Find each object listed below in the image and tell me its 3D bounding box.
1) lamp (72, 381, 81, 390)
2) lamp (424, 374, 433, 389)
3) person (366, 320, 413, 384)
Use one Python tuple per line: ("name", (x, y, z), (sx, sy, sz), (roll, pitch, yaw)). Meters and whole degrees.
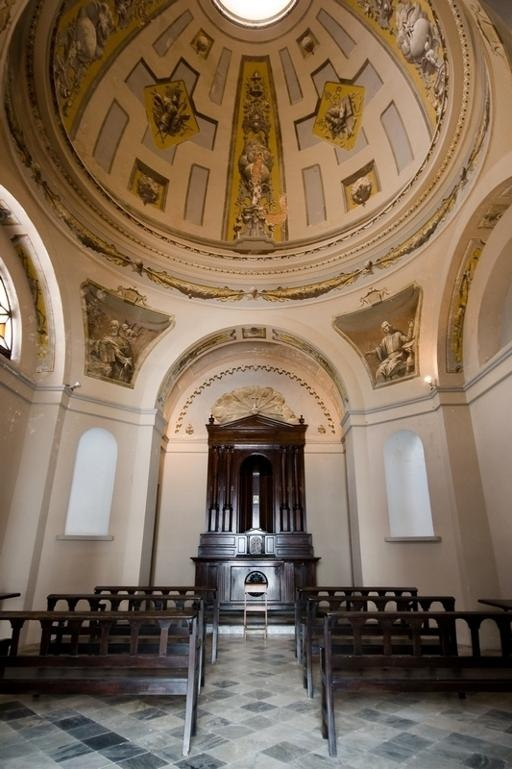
("lamp", (-3.065, 0.024, 7.888), (0.104, 0.111, 0.033), (12, -25, 4))
("lamp", (3.013, -0.055, 7.971), (0.146, 0.181, 0.297), (-2, -15, 29))
("person", (2.629, -0.629, 8.838), (0.367, 1.255, 1.077), (16, -28, -37))
